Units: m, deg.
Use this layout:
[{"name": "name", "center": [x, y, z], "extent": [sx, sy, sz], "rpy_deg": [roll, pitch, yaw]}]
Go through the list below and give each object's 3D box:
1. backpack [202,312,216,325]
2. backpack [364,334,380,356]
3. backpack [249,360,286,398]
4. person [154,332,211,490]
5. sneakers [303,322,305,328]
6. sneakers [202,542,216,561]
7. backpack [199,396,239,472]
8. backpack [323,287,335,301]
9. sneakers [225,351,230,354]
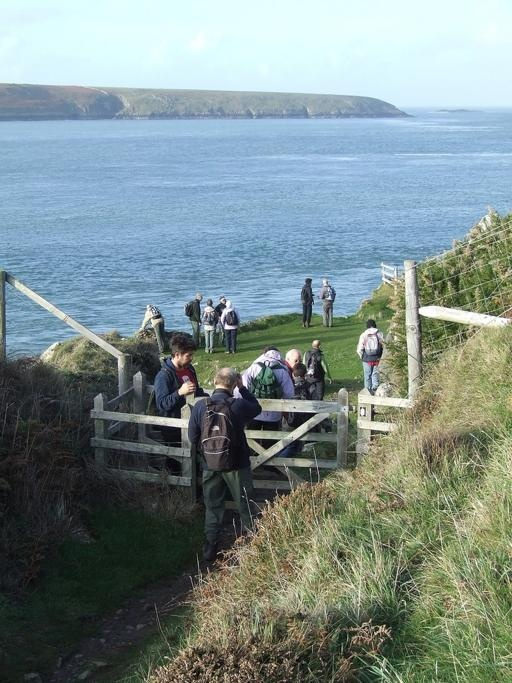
[{"name": "backpack", "center": [-1.197, -0.583, 23.629], "extent": [0.269, 0.538, 0.377], "rpy_deg": [4, 14, 13]}, {"name": "backpack", "center": [2.005, 0.066, 15.963], "extent": [0.279, 0.380, 0.169], "rpy_deg": [-3, 10, 7]}, {"name": "backpack", "center": [0.162, 0.419, 11.125], "extent": [0.488, 0.669, 0.352], "rpy_deg": [0, -3, 9]}, {"name": "person", "center": [-0.824, 0.749, 10.462], "extent": [0.568, 1.875, 0.656], "rpy_deg": [15, 33, 20]}, {"name": "sneakers", "center": [1.434, -0.490, 27.306], "extent": [0.092, 0.139, 0.080], "rpy_deg": [-1, 1, 6]}, {"name": "sneakers", "center": [-0.432, 1.998, 8.859], "extent": [0.139, 0.169, 0.129], "rpy_deg": [-5, 10, -4]}, {"name": "backpack", "center": [-0.351, 0.886, 8.644], "extent": [0.344, 0.687, 0.298], "rpy_deg": [-4, 10, -3]}, {"name": "backpack", "center": [2.036, -1.343, 25.931], "extent": [0.326, 0.444, 0.231], "rpy_deg": [9, 13, 39]}, {"name": "sneakers", "center": [-0.728, 0.269, 23.779], "extent": [0.064, 0.066, 0.143], "rpy_deg": [0, 0, -8]}]
